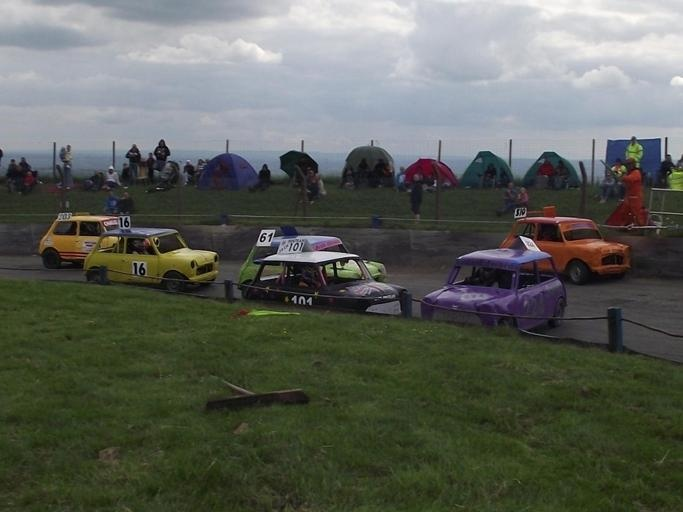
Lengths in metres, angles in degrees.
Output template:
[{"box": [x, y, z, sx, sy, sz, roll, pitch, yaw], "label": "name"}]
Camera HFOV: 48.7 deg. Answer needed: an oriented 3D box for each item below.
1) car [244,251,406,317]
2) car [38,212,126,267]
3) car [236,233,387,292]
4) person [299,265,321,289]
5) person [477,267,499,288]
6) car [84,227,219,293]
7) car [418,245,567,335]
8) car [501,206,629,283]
[{"box": [-0.332, 0.578, 15.075, 2.394, 1.057, 1.459, 2, 7, 27], "label": "car"}, {"box": [-7.698, -0.427, 23.193, 2.850, 1.562, 1.533, 1, 2, 7], "label": "car"}, {"box": [-0.902, 0.157, 17.768, 2.692, 1.214, 1.578, 0, 7, 11], "label": "car"}, {"box": [-0.684, 0.402, 15.091, 0.244, 0.441, 0.827, -1, 6, -24], "label": "person"}, {"box": [2.862, 0.438, 14.818, 0.406, 0.487, 1.152, 0, 0, 6], "label": "person"}, {"box": [-4.790, 0.060, 18.865, 2.734, 1.165, 1.636, 2, 7, 13], "label": "car"}, {"box": [2.848, 0.559, 14.264, 1.843, 1.622, 2.759, 6, 7, 40], "label": "car"}, {"box": [5.741, -0.295, 20.082, 1.913, 1.615, 3.300, -6, 9, -41], "label": "car"}]
